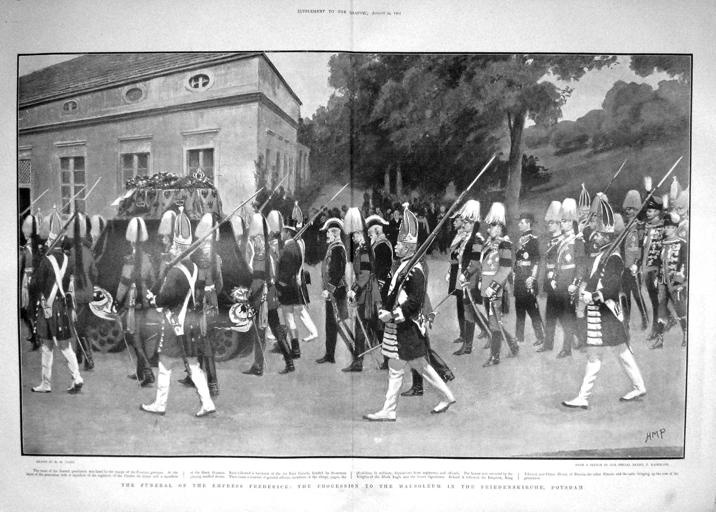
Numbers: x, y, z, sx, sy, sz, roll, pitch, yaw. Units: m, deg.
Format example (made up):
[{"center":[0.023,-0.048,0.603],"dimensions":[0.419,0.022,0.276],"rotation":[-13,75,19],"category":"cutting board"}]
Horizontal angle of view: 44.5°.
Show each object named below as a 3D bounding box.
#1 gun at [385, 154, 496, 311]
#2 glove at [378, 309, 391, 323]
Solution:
[{"center":[0.789,-0.296,8.776],"dimensions":[0.234,1.666,0.085],"rotation":[23,-9,41],"category":"gun"},{"center":[0.281,0.606,8.744],"dimensions":[0.132,0.132,0.050],"rotation":[2,7,40],"category":"glove"}]
